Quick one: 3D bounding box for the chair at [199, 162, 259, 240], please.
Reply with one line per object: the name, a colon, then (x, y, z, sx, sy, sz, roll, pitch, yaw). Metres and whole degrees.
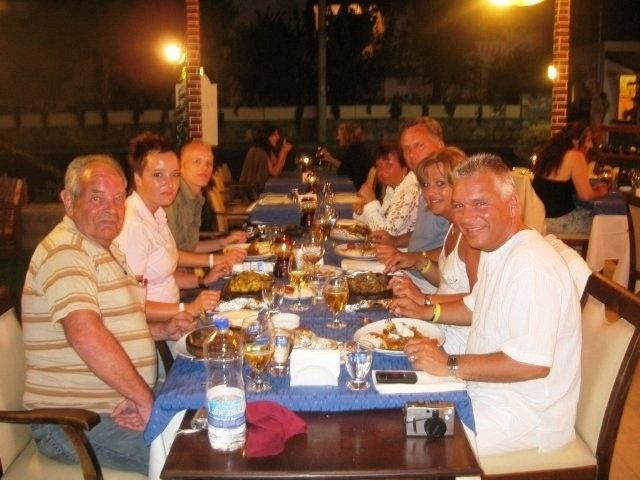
chair: (-1.069, -0.458, 6.603, 0.590, 1.023, 0.734, 0, 52, -11)

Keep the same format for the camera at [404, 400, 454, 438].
camera: (0.378, 0.629, 1.978, 0.162, 0.120, 0.101, -1, 5, 0)

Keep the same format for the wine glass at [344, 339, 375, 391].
wine glass: (0.143, 0.470, 2.140, 0.127, 0.220, 0.142, 2, 5, 15)

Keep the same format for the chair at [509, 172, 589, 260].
chair: (2.000, -0.238, 4.842, 0.540, 0.795, 0.535, -7, 35, 0)

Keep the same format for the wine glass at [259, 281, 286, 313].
wine glass: (-0.225, 0.272, 2.728, 0.126, 0.152, 0.124, 2, 4, -1)

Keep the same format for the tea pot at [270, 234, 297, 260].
tea pot: (-0.217, 0.040, 3.422, 0.146, 0.175, 0.135, 4, 1, 0)
